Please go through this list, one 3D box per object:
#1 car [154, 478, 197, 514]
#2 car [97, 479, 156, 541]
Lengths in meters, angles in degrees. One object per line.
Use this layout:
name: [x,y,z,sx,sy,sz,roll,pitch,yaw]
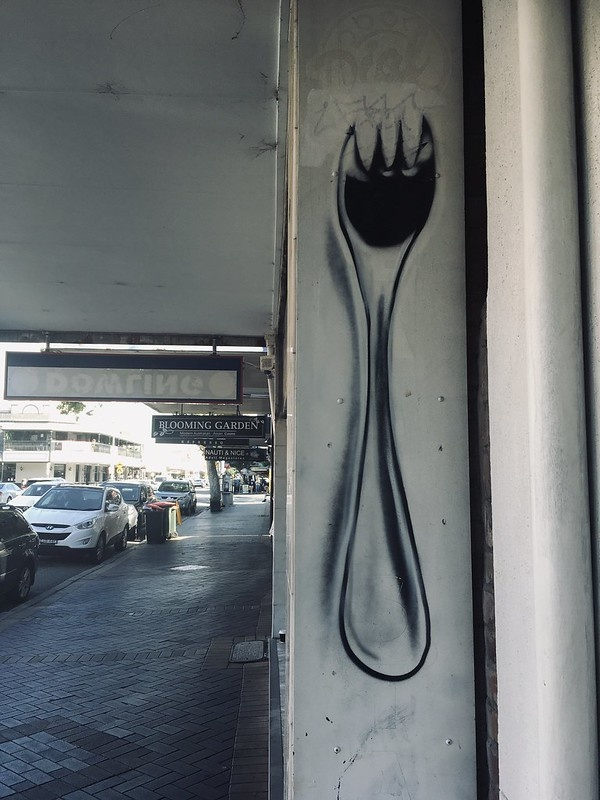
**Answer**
car: [-4.501,3.424,33.434,0.799,1.129,2.086,0,-20,2]
car: [-4.086,2.634,22.463,0.808,1.163,2.132,-1,-10,0]
